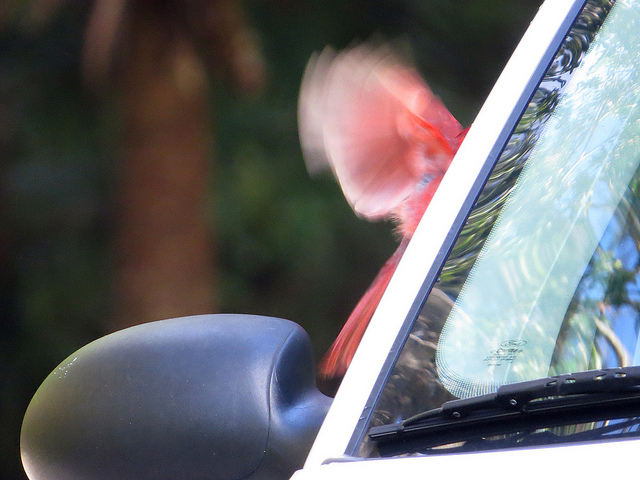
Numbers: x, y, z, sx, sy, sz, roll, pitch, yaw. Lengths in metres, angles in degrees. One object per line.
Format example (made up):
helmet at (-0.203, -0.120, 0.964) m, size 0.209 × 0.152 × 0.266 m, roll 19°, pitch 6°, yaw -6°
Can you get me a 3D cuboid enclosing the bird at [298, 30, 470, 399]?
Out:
bird at (0.229, -0.118, 4.885) m, size 0.449 × 1.298 × 1.195 m, roll 8°, pitch 32°, yaw -22°
